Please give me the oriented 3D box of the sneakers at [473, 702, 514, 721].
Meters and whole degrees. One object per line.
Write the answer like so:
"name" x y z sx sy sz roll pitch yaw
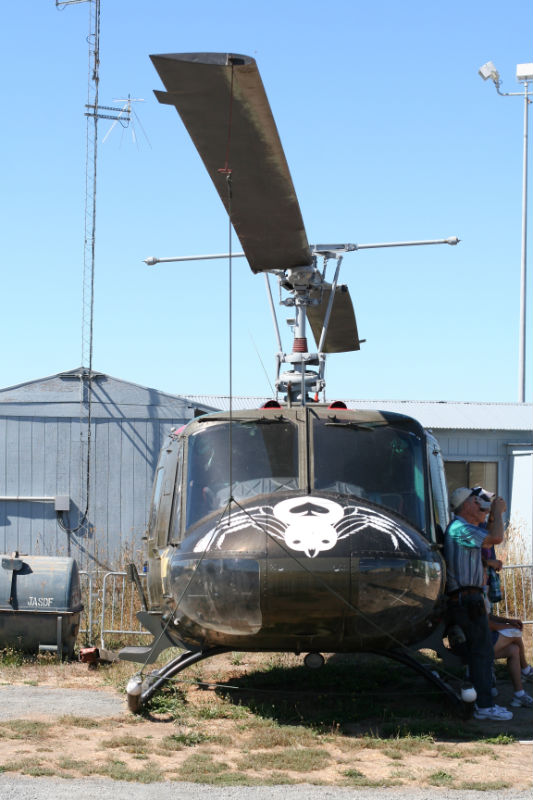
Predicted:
"sneakers" 1.710 2.327 10.493 0.296 0.123 0.111 0 -2 3

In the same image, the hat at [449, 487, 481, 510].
"hat" 1.540 0.763 10.968 0.136 0.099 0.189 -13 -17 27
